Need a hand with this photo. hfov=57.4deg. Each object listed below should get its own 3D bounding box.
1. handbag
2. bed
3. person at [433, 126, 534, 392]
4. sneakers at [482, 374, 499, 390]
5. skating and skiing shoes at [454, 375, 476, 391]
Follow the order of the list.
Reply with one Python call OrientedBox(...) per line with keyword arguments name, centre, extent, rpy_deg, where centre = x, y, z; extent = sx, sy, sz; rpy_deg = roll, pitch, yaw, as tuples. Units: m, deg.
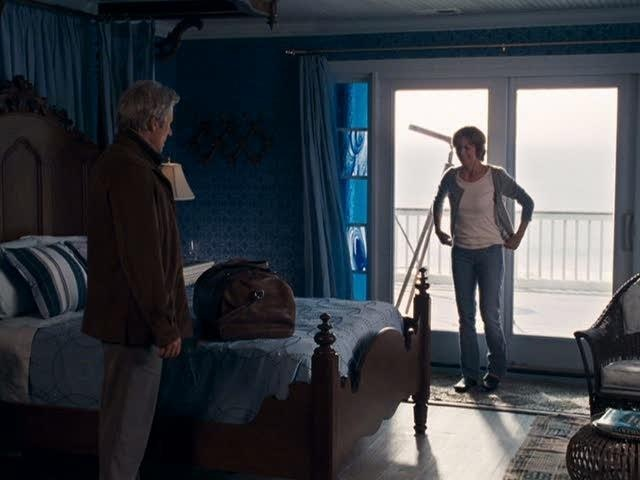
OrientedBox(name="handbag", centre=(-0.414, 0.240, 3.120), extent=(0.343, 0.347, 0.461), rpy_deg=(-1, 1, -14))
OrientedBox(name="bed", centre=(-0.410, 0.403, 3.296), extent=(1.870, 1.986, 1.956), rpy_deg=(0, 5, 17))
OrientedBox(name="person", centre=(1.259, 0.151, 4.589), extent=(0.756, 2.058, 0.393), rpy_deg=(1, 6, 10))
OrientedBox(name="sneakers", centre=(1.321, 1.100, 4.586), extent=(0.132, 0.160, 0.087), rpy_deg=(1, 0, -4))
OrientedBox(name="skating and skiing shoes", centre=(1.120, 1.112, 4.574), extent=(0.206, 0.100, 0.083), rpy_deg=(-1, 1, 22))
